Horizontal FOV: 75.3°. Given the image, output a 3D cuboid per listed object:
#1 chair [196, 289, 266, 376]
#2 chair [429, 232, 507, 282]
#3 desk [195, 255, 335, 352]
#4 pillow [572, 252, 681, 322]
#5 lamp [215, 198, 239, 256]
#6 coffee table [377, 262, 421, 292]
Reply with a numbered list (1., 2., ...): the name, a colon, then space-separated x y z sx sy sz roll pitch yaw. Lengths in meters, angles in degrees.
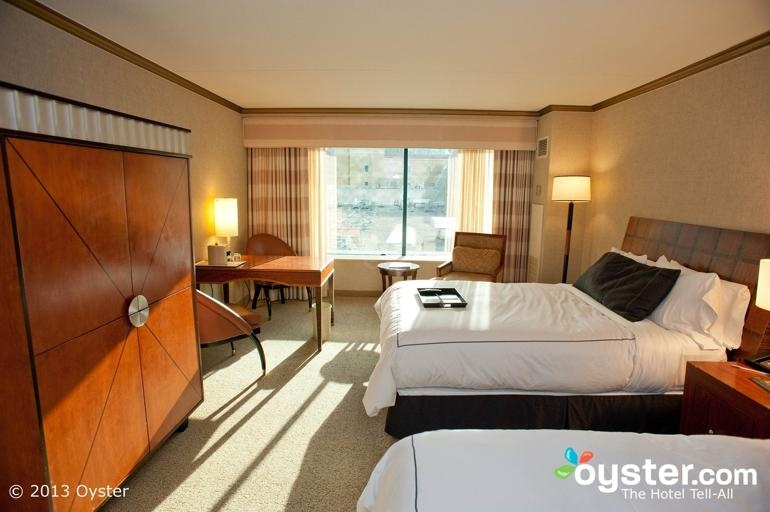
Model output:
1. chair: -1.401 0.700 4.737 0.548 0.827 0.706 1 8 -2
2. chair: 1.043 0.008 6.503 0.711 0.939 0.731 2 -2 16
3. desk: -1.353 0.525 5.604 1.481 0.862 0.855 0 3 5
4. pillow: 2.208 0.243 4.486 0.497 0.434 1.144 -10 6 0
5. lamp: -1.872 -0.461 5.833 0.259 0.430 0.206 -1 9 -14
6. coffee table: 0.170 0.224 6.500 0.461 0.449 0.447 -1 2 -4
